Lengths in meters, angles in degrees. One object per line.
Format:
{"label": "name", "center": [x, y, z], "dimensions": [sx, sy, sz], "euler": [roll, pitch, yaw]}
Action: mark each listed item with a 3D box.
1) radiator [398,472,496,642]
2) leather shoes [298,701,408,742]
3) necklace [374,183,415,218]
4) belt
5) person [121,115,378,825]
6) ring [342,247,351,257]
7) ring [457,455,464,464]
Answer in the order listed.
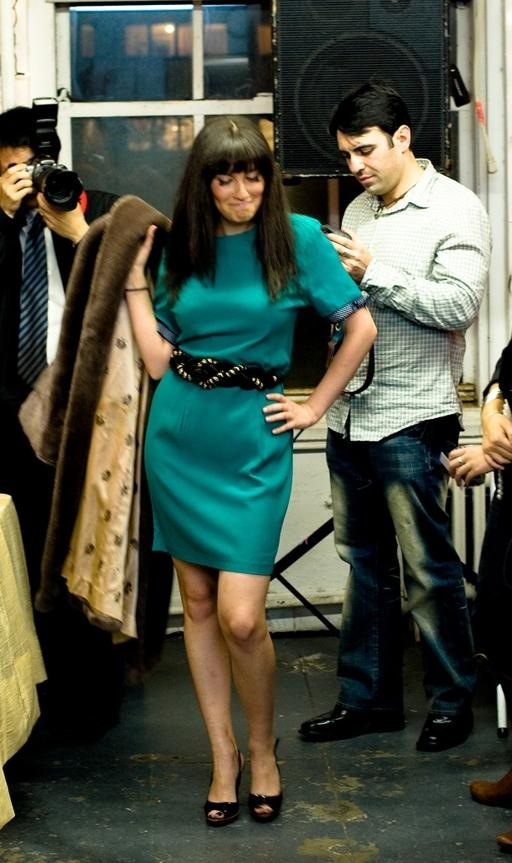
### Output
{"label": "radiator", "center": [0.733, 0.369, 2.714], "dimensions": [0.507, 0.592, 0.146], "euler": [0, 6, -25]}
{"label": "leather shoes", "center": [0.248, 0.743, 1.984], "dimensions": [0.280, 0.106, 0.092], "euler": [1, -6, -15]}
{"label": "necklace", "center": [0.334, -0.566, 1.841], "dimensions": [0.079, 0.034, 0.057], "euler": [-33, -4, 9]}
{"label": "belt", "center": [-0.056, -0.112, 1.424], "dimensions": [0.197, 0.075, 0.099], "euler": [-4, 15, -4]}
{"label": "person", "center": [-0.022, 0.088, 1.460], "dimensions": [0.494, 1.313, 0.373], "euler": [-1, 15, 9]}
{"label": "ring", "center": [0.190, -0.383, 1.602], "dimensions": [0.015, 0.014, 0.046], "euler": [-7, 1, 26]}
{"label": "ring", "center": [0.430, 0.058, 1.601], "dimensions": [0.014, 0.018, 0.006], "euler": [-5, -3, 43]}
